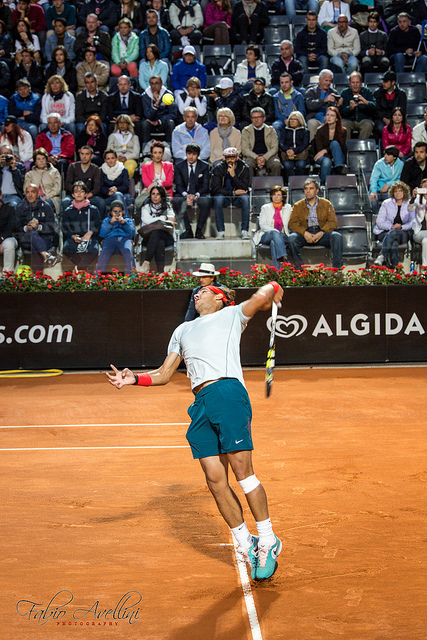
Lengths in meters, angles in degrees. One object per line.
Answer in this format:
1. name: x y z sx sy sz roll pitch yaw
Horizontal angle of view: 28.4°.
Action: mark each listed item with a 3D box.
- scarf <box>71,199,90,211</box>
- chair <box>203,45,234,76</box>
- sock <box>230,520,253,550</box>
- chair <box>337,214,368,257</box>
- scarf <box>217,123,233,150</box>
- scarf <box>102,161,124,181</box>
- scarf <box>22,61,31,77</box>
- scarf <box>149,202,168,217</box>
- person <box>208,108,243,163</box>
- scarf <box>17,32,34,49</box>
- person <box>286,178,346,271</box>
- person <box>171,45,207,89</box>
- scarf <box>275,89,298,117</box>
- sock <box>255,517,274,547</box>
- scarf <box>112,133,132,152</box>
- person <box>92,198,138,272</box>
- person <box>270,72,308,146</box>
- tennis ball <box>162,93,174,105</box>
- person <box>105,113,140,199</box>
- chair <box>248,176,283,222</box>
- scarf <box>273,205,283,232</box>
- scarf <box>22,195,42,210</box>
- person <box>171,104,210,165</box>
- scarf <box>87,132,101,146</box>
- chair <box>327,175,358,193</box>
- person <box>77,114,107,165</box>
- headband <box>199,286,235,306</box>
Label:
1. scarf: -2.013 -1.738 12.781 0.259 0.167 0.321 -2 6 -3
2. chair: 0.058 -5.717 18.870 0.778 0.938 0.801 0 3 -2
3. sock: 0.180 1.286 5.075 0.145 0.156 0.087 -3 6 -17
4. chair: 2.270 -1.360 13.283 0.610 0.733 0.742 -2 3 16
5. scarf: 0.188 -3.314 15.222 0.277 0.457 0.154 1 6 21
6. scarf: -1.676 -2.477 14.073 0.364 0.312 0.171 -1 6 -1
7. scarf: -3.867 -5.206 17.491 0.149 0.248 0.067 -3 6 -19
8. scarf: -0.864 -1.656 12.680 0.183 0.211 0.201 -2 6 -4
9. person: 0.201 -3.258 15.173 0.670 1.007 0.761 13 23 36
10. scarf: -4.099 -6.122 18.473 0.345 0.419 0.521 -3 6 -19
11. person: 1.532 -1.457 12.861 0.832 1.322 0.466 -1 6 4
12. person: -0.486 -4.960 16.915 0.762 1.023 0.701 -11 23 -31
13. scarf: 1.398 -4.133 16.197 0.421 0.525 0.137 1 9 14
14. sock: 0.320 1.249 5.043 0.060 0.173 0.117 4 -35 11
15. scarf: -1.641 -3.221 15.322 0.327 0.352 0.167 -2 6 -7
16. person: -1.463 -1.241 12.529 0.646 1.060 0.375 -3 6 -14
17. person: 1.424 -3.996 16.257 0.702 1.398 0.831 5 32 30
18. tennis ball: -0.853 -4.228 16.104 0.163 0.204 0.207 17 -8 6
19. person: -1.595 -3.166 15.290 0.609 1.226 1.058 -4 7 -26
20. chair: 0.790 -2.040 13.792 0.733 0.905 0.860 1 2 2
21. scarf: 0.984 -1.556 12.834 0.129 0.369 0.218 -1 6 5
22. scarf: -2.683 -1.730 12.495 0.264 0.186 0.142 -2 6 -11
23. person: -0.416 -3.326 15.147 0.677 0.964 0.506 -2 6 -2
24. scarf: -2.189 -3.260 15.373 0.228 0.297 0.110 7 -16 10
25. chair: 2.151 -2.211 14.014 0.461 0.427 0.418 2 14 7
26. person: -2.188 -3.277 15.299 0.455 0.742 0.384 -2 6 -7
27. headband: 0.025 -0.180 5.585 0.119 0.155 0.065 -45 -4 -6
